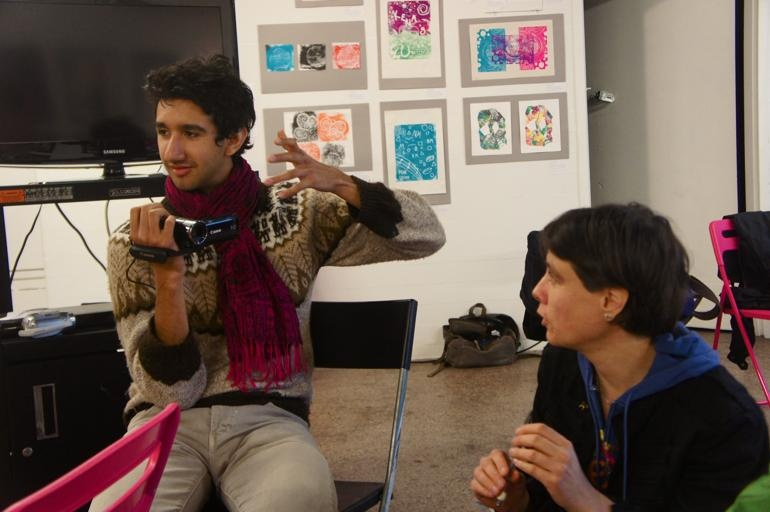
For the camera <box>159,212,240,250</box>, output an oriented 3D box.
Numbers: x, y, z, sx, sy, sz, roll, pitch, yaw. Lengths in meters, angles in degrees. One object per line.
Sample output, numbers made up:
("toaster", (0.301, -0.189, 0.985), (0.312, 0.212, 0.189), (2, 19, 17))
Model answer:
("camera", (-0.667, -0.088, 2.160), (0.222, 0.078, 0.223), (5, 14, 28))
